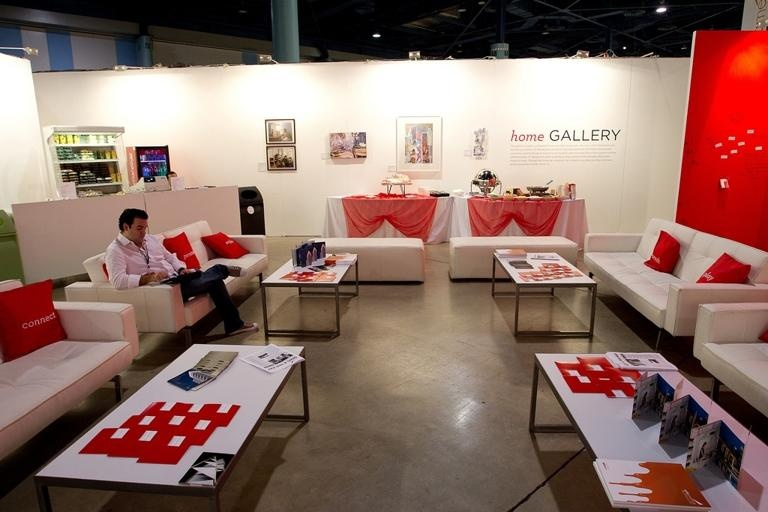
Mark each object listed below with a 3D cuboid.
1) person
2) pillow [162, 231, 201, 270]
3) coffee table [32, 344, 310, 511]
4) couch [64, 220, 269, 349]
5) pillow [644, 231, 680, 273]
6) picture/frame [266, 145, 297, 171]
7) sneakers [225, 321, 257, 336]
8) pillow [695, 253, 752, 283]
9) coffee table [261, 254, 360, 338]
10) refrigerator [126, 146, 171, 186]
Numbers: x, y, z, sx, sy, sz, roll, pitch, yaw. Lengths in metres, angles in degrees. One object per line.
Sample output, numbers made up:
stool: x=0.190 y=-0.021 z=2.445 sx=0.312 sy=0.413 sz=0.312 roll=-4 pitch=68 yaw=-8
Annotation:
person: x=-2.166 y=0.199 z=5.316 sx=1.411 sy=1.375 sz=0.803 roll=-1 pitch=12 yaw=-11
pillow: x=-2.388 y=-0.057 z=5.764 sx=0.123 sy=0.394 sz=0.428 roll=-24 pitch=-3 yaw=22
coffee table: x=-1.405 y=1.174 z=3.286 sx=0.998 sy=0.685 sz=1.532 roll=5 pitch=21 yaw=8
couch: x=-2.288 y=0.242 z=5.348 sx=1.395 sy=1.031 sz=1.986 roll=0 pitch=15 yaw=-1
pillow: x=3.351 y=-0.032 z=5.863 sx=0.258 sy=0.454 sz=0.440 roll=-5 pitch=13 yaw=-7
picture/frame: x=-2.047 y=-1.975 z=9.746 sx=0.524 sy=0.415 sz=0.049 roll=0 pitch=6 yaw=-1
sneakers: x=-1.582 y=0.812 z=5.454 sx=0.363 sy=0.138 sz=0.128 roll=-8 pitch=12 yaw=-25
pillow: x=3.390 y=0.158 z=4.861 sx=0.404 sy=0.275 sz=0.361 roll=-4 pitch=16 yaw=-6
coffee table: x=-0.883 y=0.320 z=5.693 sx=0.927 sy=0.583 sz=1.506 roll=1 pitch=17 yaw=4
refrigerator: x=-4.601 y=-1.761 z=9.465 sx=0.779 sy=0.703 sz=0.435 roll=-8 pitch=17 yaw=-20
